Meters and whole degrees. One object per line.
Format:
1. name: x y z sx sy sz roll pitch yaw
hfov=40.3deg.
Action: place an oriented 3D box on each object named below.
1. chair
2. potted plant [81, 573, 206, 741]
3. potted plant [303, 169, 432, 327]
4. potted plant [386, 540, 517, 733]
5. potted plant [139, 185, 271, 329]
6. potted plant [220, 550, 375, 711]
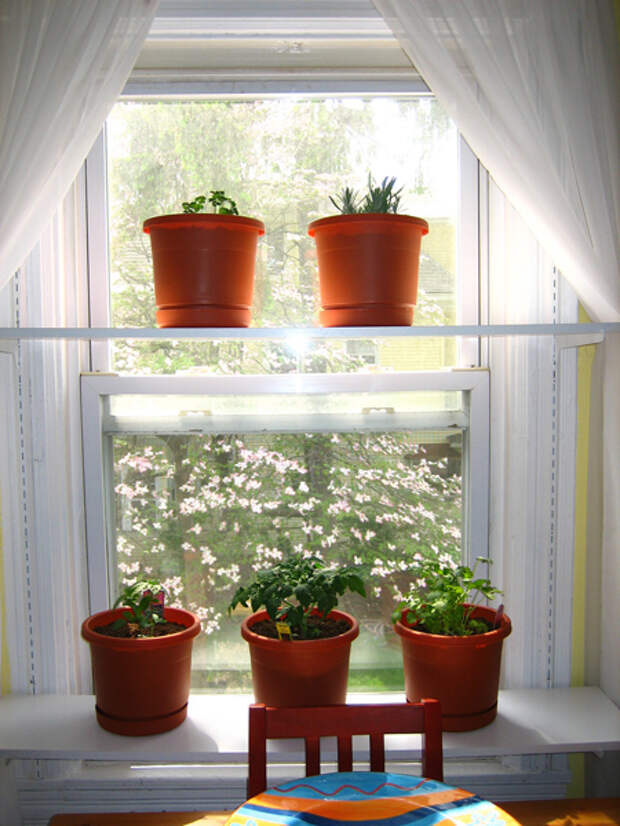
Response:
1. chair: 0.065 0.487 1.240 0.257 0.156 0.208 0 5 22
2. potted plant: -0.319 0.449 1.588 0.252 0.243 0.228 6 -3 5
3. potted plant: 0.108 -0.282 1.535 0.243 0.234 0.209 0 3 -6
4. potted plant: 0.260 0.430 1.582 0.205 0.287 0.196 -3 4 -16
5. potted plant: -0.184 -0.289 1.530 0.247 0.240 0.231 3 5 -5
6. potted plant: 0.009 0.408 1.560 0.203 0.220 0.226 2 1 29
